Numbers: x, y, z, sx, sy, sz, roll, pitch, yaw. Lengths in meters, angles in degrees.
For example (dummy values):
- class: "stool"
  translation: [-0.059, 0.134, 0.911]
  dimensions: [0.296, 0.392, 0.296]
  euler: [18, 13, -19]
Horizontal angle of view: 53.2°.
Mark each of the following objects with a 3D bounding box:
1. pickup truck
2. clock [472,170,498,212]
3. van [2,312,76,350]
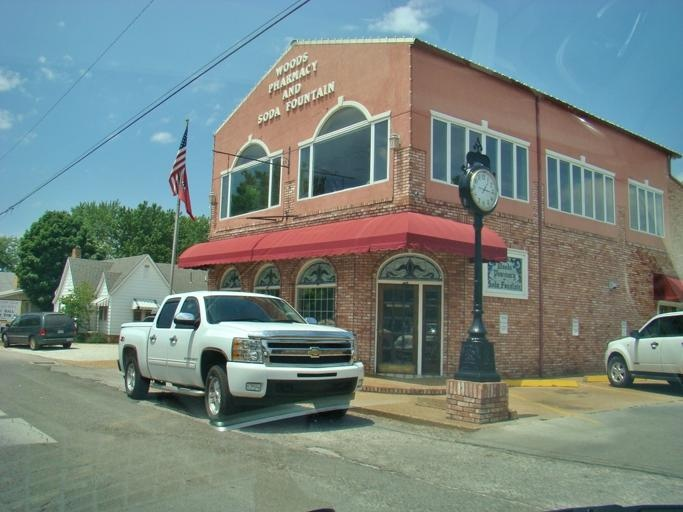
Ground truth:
- class: "pickup truck"
  translation: [-2.100, 1.943, 13.617]
  dimensions: [4.626, 2.602, 1.982]
  euler: [-9, -16, 35]
- class: "clock"
  translation: [3.068, -1.423, 14.760]
  dimensions: [0.861, 0.995, 0.135]
  euler: [12, -16, -40]
- class: "van"
  translation: [-14.770, 3.516, 33.384]
  dimensions: [1.845, 1.370, 3.462]
  euler: [7, -6, -43]
